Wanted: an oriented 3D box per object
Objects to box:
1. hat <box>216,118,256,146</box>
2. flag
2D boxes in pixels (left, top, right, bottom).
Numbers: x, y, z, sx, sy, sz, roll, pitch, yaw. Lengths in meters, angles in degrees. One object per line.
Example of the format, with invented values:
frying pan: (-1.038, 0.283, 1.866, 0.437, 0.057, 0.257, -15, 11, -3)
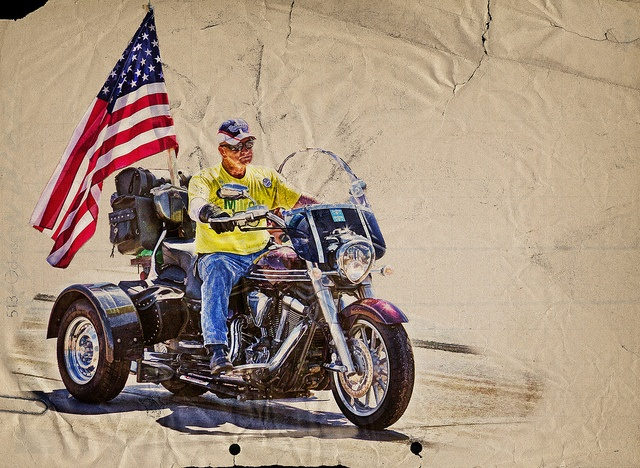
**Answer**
hat: (-0.858, -1.029, 17.861, 0.226, 0.316, 0.192, -14, 89, -50)
flag: (-2.199, -1.157, 19.051, 1.360, 0.367, 3.630, 3, 53, 3)
